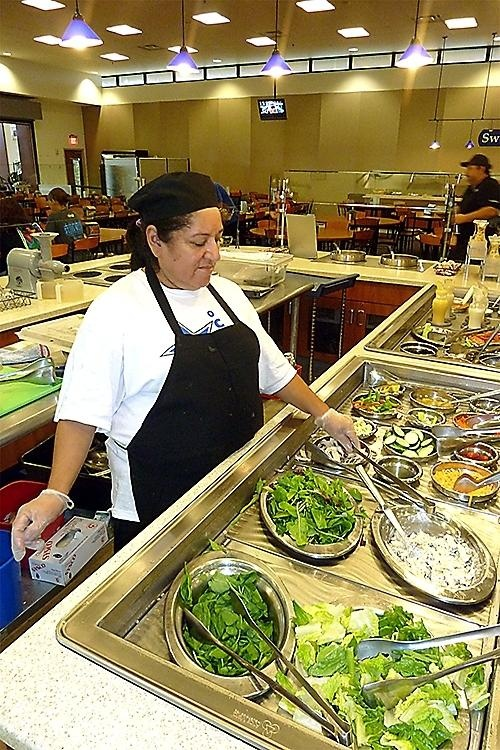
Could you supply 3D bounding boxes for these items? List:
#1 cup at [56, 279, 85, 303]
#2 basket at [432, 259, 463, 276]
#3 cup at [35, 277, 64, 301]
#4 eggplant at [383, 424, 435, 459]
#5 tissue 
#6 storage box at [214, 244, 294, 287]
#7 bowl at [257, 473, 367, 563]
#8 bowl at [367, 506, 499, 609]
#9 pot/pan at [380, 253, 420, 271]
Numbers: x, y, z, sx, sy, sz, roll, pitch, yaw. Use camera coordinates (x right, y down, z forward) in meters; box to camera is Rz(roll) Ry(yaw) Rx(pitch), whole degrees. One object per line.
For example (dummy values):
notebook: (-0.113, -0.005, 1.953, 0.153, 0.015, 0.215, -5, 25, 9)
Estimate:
cup: (-1.019, -0.470, 2.991, 0.060, 0.118, 0.137, 13, 16, 42)
basket: (1.303, -0.686, 3.497, 0.179, 0.091, 0.275, 7, 21, 17)
cup: (-1.140, -0.481, 3.019, 0.131, 0.091, 0.113, -1, 9, -10)
eggplant: (0.429, 0.180, 1.429, 0.086, 0.031, 0.090, -5, 23, -8)
tissue : (-0.471, 0.454, 1.398, 0.109, 0.059, 0.191, 5, 20, 21)
storage box: (0.029, -0.726, 3.539, 0.588, 0.207, 0.423, 7, 26, 11)
bowl: (0.117, 0.277, 1.064, 0.217, 0.076, 0.245, 2, 19, 8)
bowl: (0.338, 0.332, 0.986, 0.202, 0.036, 0.274, -7, 20, -18)
pot/pan: (1.204, -0.915, 4.277, 0.315, 0.090, 0.188, 6, 20, 20)
